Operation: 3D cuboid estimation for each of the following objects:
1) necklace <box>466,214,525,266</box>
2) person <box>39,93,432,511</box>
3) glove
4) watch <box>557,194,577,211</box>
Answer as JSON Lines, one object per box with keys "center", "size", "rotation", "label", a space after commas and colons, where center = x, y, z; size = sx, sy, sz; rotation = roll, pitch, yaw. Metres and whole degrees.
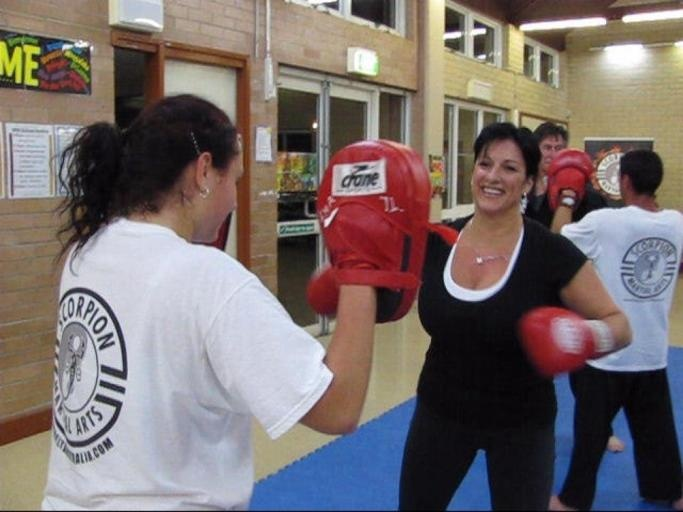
{"center": [0.553, -0.048, 2.047], "size": [0.120, 0.172, 0.046], "rotation": [10, -3, 12], "label": "necklace"}
{"center": [-0.347, 0.125, 1.401], "size": [0.871, 1.005, 0.360], "rotation": [1, 10, 4], "label": "person"}
{"center": [0.634, 0.245, 1.710], "size": [0.256, 0.183, 0.113], "rotation": [-11, -14, -20], "label": "glove"}
{"center": [1.135, -0.273, 2.940], "size": [0.081, 0.091, 0.092], "rotation": [6, -6, 5], "label": "watch"}
